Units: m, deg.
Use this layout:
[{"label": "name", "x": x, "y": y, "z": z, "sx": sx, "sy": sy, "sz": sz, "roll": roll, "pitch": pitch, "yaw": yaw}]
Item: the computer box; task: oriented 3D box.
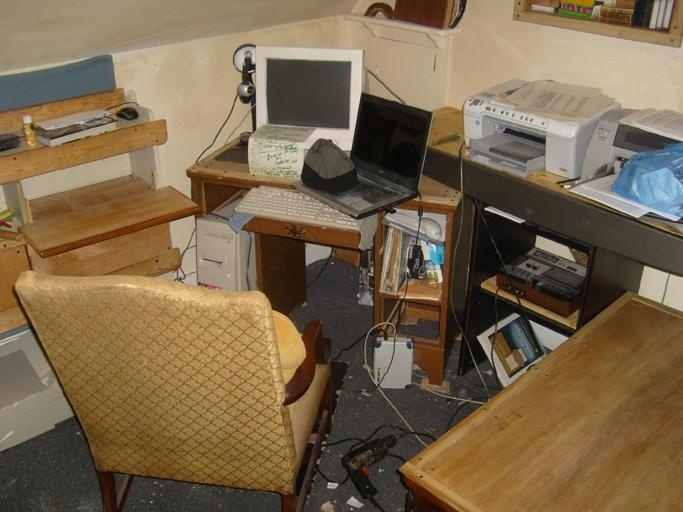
[{"label": "computer box", "x": -0.650, "y": -0.021, "z": 3.112, "sx": 0.281, "sy": 0.546, "sz": 0.288, "roll": 8, "pitch": 29, "yaw": 11}]

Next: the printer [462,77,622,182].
[{"label": "printer", "x": 0.877, "y": -0.595, "z": 2.552, "sx": 0.573, "sy": 0.297, "sz": 0.605, "roll": -22, "pitch": 37, "yaw": -22}]

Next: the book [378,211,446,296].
[{"label": "book", "x": 0.346, "y": -0.032, "z": 2.666, "sx": 0.300, "sy": 0.422, "sz": 0.124, "roll": 4, "pitch": 22, "yaw": 3}]

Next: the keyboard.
[{"label": "keyboard", "x": -0.235, "y": -0.230, "z": 2.674, "sx": 0.535, "sy": 0.054, "sz": 0.210, "roll": 16, "pitch": 53, "yaw": 21}]

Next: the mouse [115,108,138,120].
[{"label": "mouse", "x": -1.077, "y": -0.717, "z": 2.758, "sx": 0.084, "sy": 0.020, "sz": 0.065, "roll": -3, "pitch": 43, "yaw": -12}]

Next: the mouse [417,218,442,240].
[{"label": "mouse", "x": 0.418, "y": -0.127, "z": 2.634, "sx": 0.116, "sy": 0.080, "sz": 0.036, "roll": 9, "pitch": -4, "yaw": 4}]

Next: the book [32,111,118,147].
[{"label": "book", "x": -1.255, "y": -0.613, "z": 2.617, "sx": 0.374, "sy": 0.061, "sz": 0.236, "roll": -24, "pitch": 43, "yaw": -34}]

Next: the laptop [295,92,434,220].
[{"label": "laptop", "x": 0.111, "y": -0.472, "z": 2.696, "sx": 0.478, "sy": 0.323, "sz": 0.548, "roll": -20, "pitch": 43, "yaw": -25}]

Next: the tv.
[{"label": "tv", "x": -0.186, "y": -0.823, "z": 2.970, "sx": 0.438, "sy": 0.228, "sz": 0.380, "roll": 1, "pitch": 79, "yaw": -6}]
